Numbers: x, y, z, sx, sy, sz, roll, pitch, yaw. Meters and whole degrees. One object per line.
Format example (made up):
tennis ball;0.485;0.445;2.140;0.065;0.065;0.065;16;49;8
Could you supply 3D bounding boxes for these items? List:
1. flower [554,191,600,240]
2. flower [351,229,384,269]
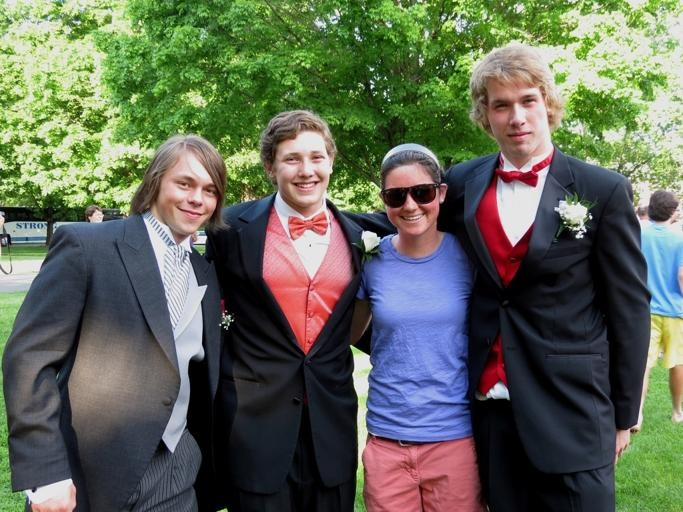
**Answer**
flower;1.336;-0.227;3.207;0.191;0.264;0.170;0;3;36
flower;0.150;-0.059;3.695;0.195;0.116;0.182;11;28;28
